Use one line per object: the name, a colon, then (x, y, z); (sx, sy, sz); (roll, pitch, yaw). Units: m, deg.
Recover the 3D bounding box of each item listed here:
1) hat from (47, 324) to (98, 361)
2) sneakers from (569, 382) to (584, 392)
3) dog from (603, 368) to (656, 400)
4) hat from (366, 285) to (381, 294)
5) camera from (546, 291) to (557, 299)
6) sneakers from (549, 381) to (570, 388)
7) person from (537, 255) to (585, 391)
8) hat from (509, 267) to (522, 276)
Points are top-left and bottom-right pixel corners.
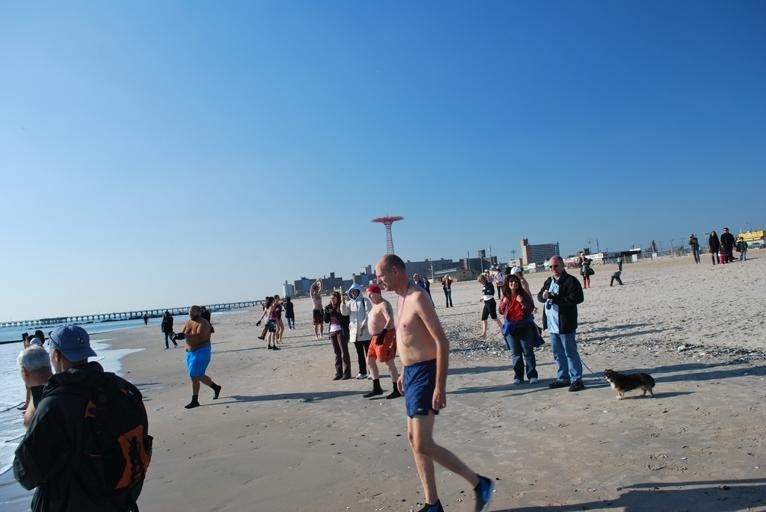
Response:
hat: (-3.162, 0.865, 5.145); (0.554, 0.275, 0.343); (11, 5, 26)
sneakers: (3.650, 2.485, 9.450); (0.351, 0.146, 0.125); (14, -26, -36)
dog: (4.347, 2.235, 8.782); (0.867, 0.565, 0.475); (-5, -1, -24)
hat: (-0.168, 0.619, 9.459); (0.169, 0.191, 0.230); (25, 37, 36)
camera: (3.153, 0.748, 9.379); (0.119, 0.060, 0.165); (1, 8, -29)
sneakers: (3.444, 2.539, 9.863); (0.428, 0.175, 0.143); (3, -4, 4)
person: (3.431, 1.291, 9.567); (0.770, 2.670, 0.778); (-7, -1, 16)
hat: (2.989, 0.355, 11.179); (0.209, 0.169, 0.266); (-1, -2, 3)
